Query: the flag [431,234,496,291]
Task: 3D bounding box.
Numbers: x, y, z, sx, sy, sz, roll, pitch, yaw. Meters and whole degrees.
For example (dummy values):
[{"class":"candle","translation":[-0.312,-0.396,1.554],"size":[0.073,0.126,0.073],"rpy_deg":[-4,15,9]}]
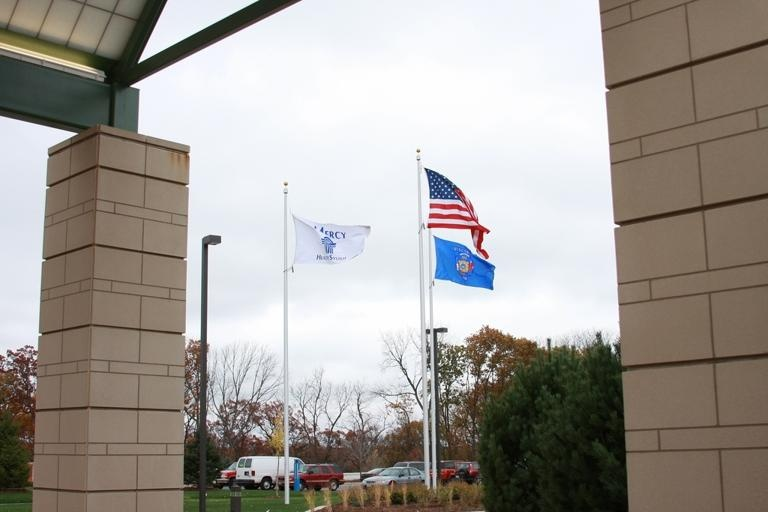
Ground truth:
[{"class":"flag","translation":[2.397,0.218,29.643],"size":[1.483,1.262,0.307],"rpy_deg":[10,-13,-16]}]
